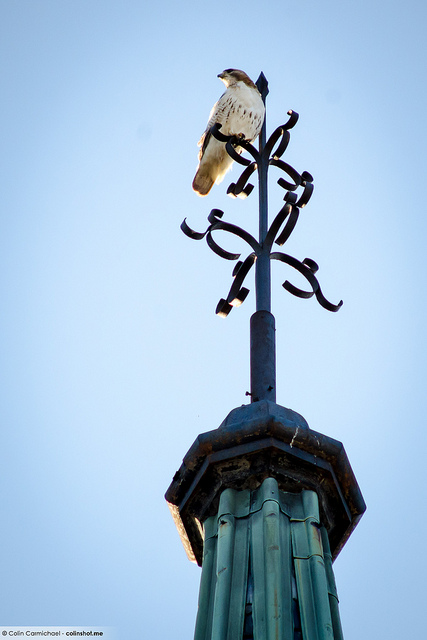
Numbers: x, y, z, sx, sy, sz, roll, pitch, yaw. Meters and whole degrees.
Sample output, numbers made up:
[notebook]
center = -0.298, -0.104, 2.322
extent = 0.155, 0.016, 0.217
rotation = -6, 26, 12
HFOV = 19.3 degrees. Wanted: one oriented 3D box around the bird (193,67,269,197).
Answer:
[bird]
center = 0.095, -1.967, 12.693
extent = 0.757, 0.965, 0.436
rotation = -27, -37, 36
